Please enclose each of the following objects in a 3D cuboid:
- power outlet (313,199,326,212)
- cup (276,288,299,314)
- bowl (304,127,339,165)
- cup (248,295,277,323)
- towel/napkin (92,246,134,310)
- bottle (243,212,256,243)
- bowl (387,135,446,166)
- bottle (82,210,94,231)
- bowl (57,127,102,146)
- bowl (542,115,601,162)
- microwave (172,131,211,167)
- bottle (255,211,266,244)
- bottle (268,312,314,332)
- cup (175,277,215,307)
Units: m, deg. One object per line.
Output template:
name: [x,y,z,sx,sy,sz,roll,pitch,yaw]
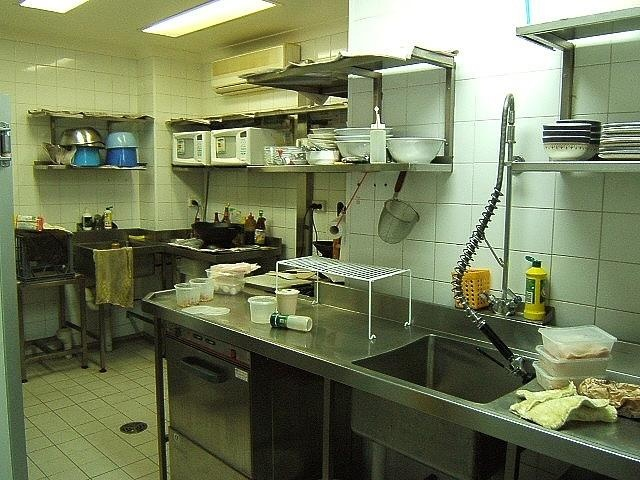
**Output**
power outlet: [-0.014,-0.279,4.162,0.079,0.089,0.138,-10,14,-37]
cup: [-0.167,0.300,2.477,0.098,0.127,0.129,7,14,34]
bowl: [0.015,-0.480,2.701,0.217,0.129,0.200,-1,2,0]
cup: [-0.269,0.328,2.446,0.132,0.071,0.120,1,7,0]
towel/napkin: [-1.710,0.320,4.316,0.318,0.491,0.208,-4,13,-17]
bottle: [-0.624,-0.089,4.581,0.114,0.247,0.110,-1,12,0]
bowl: [0.431,-0.402,2.334,0.241,0.112,0.085,1,12,7]
bottle: [-2.183,-0.181,4.876,0.110,0.152,0.166,-6,12,-23]
bowl: [-2.099,-0.916,4.557,0.346,0.162,0.187,-4,12,-20]
bowl: [0.953,-0.375,1.964,0.190,0.111,0.182,0,0,0]
microwave: [-1.148,-0.824,4.668,0.412,0.244,0.254,5,4,44]
bottle: [-0.528,-0.105,4.570,0.093,0.288,0.085,-1,12,0]
bottle: [-0.130,0.374,2.369,0.219,0.072,0.068,2,24,15]
cup: [-0.644,0.273,2.664,0.200,0.082,0.118,-2,7,-15]
